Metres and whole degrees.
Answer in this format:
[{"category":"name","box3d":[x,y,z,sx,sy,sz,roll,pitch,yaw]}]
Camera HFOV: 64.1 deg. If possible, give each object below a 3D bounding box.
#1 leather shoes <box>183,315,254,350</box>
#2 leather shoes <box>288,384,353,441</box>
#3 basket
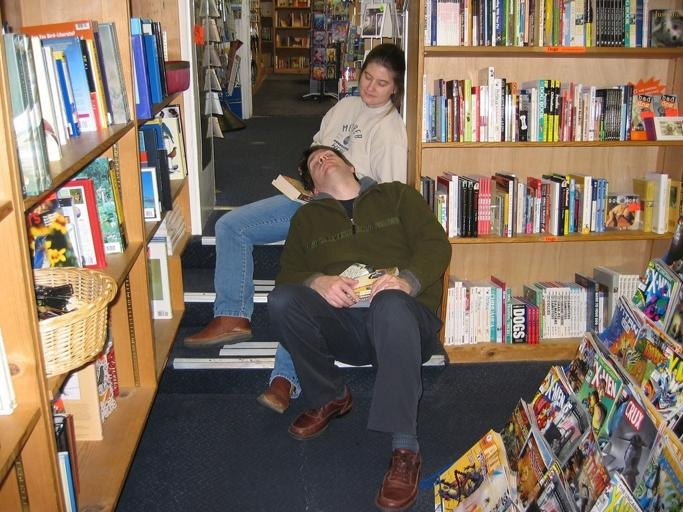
[{"category":"leather shoes","box3d":[-0.611,0.405,2.863,0.379,0.183,0.150,-2,-18,-2]},{"category":"leather shoes","box3d":[-0.090,0.735,2.554,0.367,0.164,0.131,-19,22,-41]},{"category":"basket","box3d":[-0.761,0.195,1.663,0.285,0.129,0.328,26,20,39]}]
